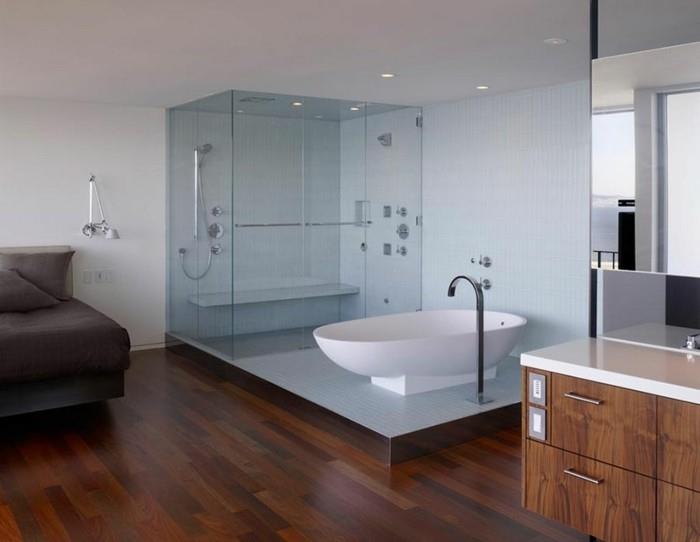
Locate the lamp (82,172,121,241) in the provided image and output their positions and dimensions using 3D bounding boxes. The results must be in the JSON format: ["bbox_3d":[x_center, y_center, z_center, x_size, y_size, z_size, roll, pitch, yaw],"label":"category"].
[{"bbox_3d":[-2.862,-0.736,5.983,0.303,0.696,0.092,-5,10,-21],"label":"lamp"}]
